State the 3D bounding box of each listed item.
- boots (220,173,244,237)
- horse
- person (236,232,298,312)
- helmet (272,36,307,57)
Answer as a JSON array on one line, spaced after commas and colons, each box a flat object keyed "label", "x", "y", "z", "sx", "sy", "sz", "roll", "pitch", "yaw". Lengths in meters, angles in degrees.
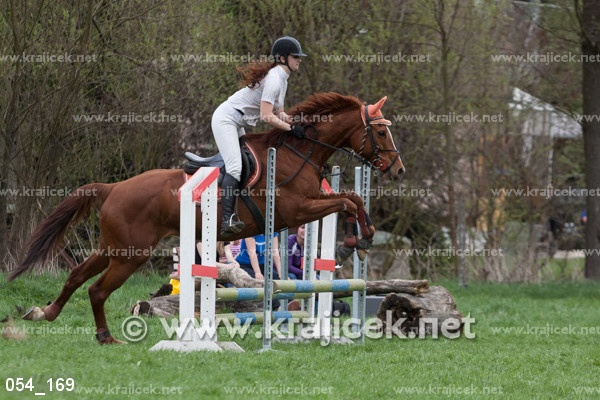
[{"label": "boots", "x": -1.224, "y": 0.033, "z": 16.956, "sx": 0.435, "sy": 1.009, "sz": 0.242, "roll": 0, "pitch": 2, "yaw": 25}, {"label": "horse", "x": -1.815, "y": 0.436, "z": 17.588, "sx": 7.171, "sy": 4.440, "sz": 1.438, "roll": -4, "pitch": 10, "yaw": -3}, {"label": "person", "x": -0.777, "y": 1.325, "z": 19.161, "sx": 0.802, "sy": 1.692, "sz": 1.080, "roll": 6, "pitch": 1, "yaw": 19}, {"label": "helmet", "x": -0.234, "y": -2.794, "z": 17.371, "sx": 0.480, "sy": 0.303, "sz": 0.361, "roll": 0, "pitch": 3, "yaw": 12}]
